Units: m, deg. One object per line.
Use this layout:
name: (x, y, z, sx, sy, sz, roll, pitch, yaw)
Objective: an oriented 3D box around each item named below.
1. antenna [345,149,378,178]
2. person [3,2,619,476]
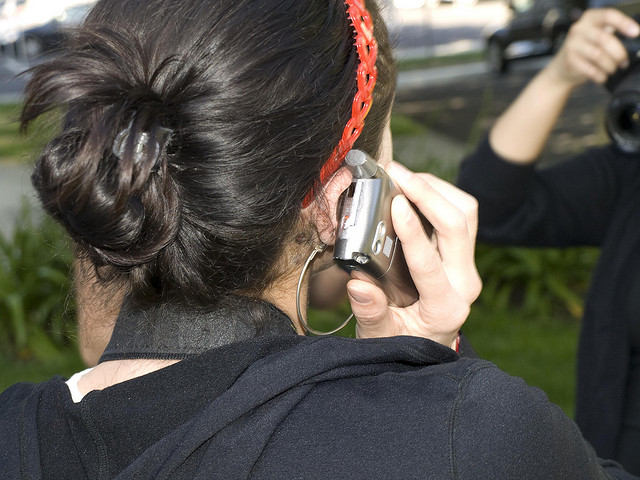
antenna: (0.101, -0.180, 1.776, 0.064, 0.066, 0.061, 30, 59, -31)
person: (-0.151, 0.027, 1.882, 1.192, 0.842, 1.186, -11, 83, 4)
